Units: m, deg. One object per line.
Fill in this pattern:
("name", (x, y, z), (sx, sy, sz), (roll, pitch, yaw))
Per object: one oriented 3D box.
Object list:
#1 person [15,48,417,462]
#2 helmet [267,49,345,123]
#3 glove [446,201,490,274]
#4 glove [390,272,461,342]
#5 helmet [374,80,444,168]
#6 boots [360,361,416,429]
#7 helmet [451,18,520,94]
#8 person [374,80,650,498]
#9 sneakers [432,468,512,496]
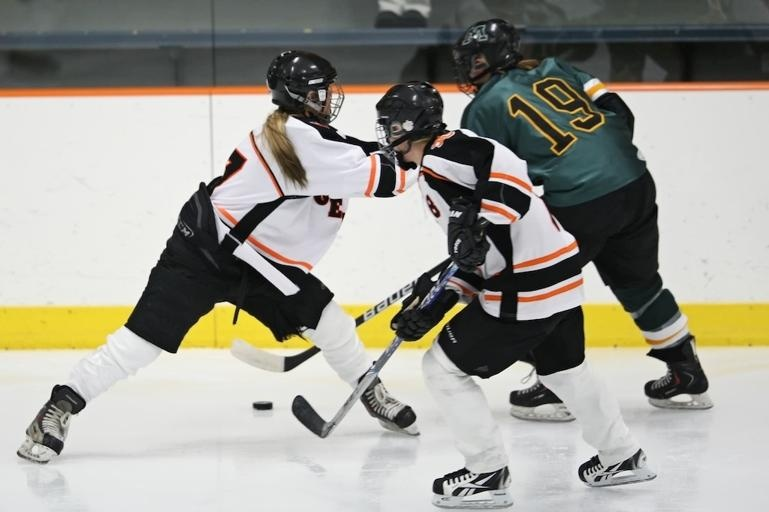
("person", (-0.693, 0.072, 4.228), (1.649, 1.466, 0.375), (-3, 15, -12))
("helmet", (-0.362, -0.802, 4.345), (0.403, 0.323, 0.309), (-3, 15, -15))
("glove", (0.310, -0.061, 3.624), (0.121, 0.240, 0.192), (-3, 15, -18))
("glove", (0.186, 0.260, 3.897), (0.251, 0.315, 0.137), (42, -1, 37))
("helmet", (0.102, -0.607, 3.947), (0.341, 0.343, 0.274), (1, 10, 21))
("boots", (-0.004, 0.714, 4.480), (0.172, 0.200, 0.486), (-26, 23, -22))
("helmet", (0.466, -0.961, 4.345), (0.362, 0.294, 0.290), (-1, 11, 4))
("person", (0.500, 0.161, 3.759), (1.122, 1.719, 0.529), (1, 15, 8))
("sneakers", (0.352, 0.942, 3.802), (0.366, 0.123, 0.113), (0, -2, 2))
